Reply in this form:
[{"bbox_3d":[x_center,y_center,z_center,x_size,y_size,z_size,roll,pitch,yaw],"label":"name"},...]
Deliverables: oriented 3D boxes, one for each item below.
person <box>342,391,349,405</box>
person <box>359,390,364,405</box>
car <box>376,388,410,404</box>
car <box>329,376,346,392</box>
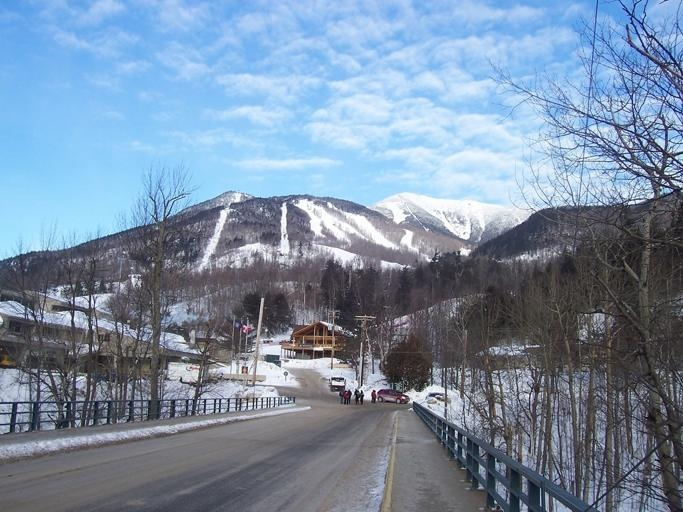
[{"bbox_3d":[0.472,12.670,55.568,0.564,1.241,1.670,0,-15,-2],"label":"person"},{"bbox_3d":[1.738,12.644,55.122,0.209,1.118,0.706,2,-13,-8],"label":"person"},{"bbox_3d":[5.186,14.303,62.929,2.414,1.130,1.443,-7,-11,25],"label":"car"},{"bbox_3d":[-0.487,14.963,72.143,1.422,1.349,2.464,2,-6,-3],"label":"car"}]
